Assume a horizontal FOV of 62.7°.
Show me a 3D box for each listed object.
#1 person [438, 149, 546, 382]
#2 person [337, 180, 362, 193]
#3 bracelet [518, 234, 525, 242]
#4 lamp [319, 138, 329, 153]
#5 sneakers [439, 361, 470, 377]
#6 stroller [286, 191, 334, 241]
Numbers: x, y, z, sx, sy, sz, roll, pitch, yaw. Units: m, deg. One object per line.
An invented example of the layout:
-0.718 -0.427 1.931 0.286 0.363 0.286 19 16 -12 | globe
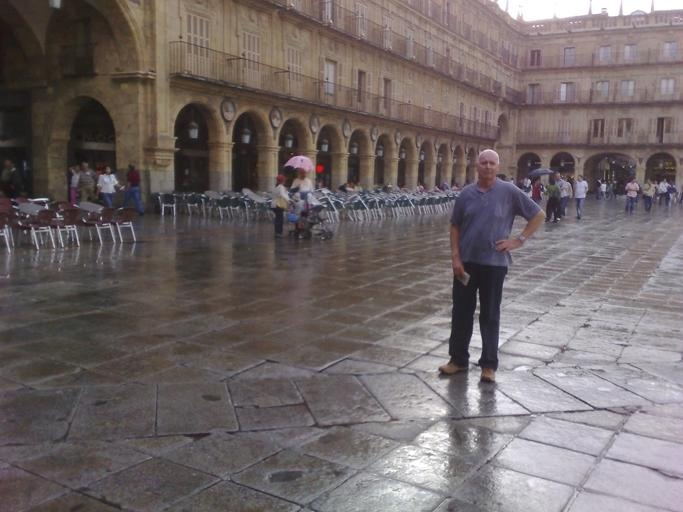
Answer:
1.289 0.102 4.916 0.722 1.857 0.436 4 9 17 | person
0.470 -2.808 25.984 0.856 0.429 1.078 3 6 17 | person
1.554 -0.109 4.838 0.042 0.065 0.061 -45 -5 4 | bracelet
-0.852 -4.971 27.868 0.353 0.571 1.058 0 9 -8 | lamp
1.044 0.995 5.087 0.297 0.113 0.099 1 -4 -20 | sneakers
-0.852 -0.894 14.580 1.444 1.395 1.091 -1 1 27 | stroller
